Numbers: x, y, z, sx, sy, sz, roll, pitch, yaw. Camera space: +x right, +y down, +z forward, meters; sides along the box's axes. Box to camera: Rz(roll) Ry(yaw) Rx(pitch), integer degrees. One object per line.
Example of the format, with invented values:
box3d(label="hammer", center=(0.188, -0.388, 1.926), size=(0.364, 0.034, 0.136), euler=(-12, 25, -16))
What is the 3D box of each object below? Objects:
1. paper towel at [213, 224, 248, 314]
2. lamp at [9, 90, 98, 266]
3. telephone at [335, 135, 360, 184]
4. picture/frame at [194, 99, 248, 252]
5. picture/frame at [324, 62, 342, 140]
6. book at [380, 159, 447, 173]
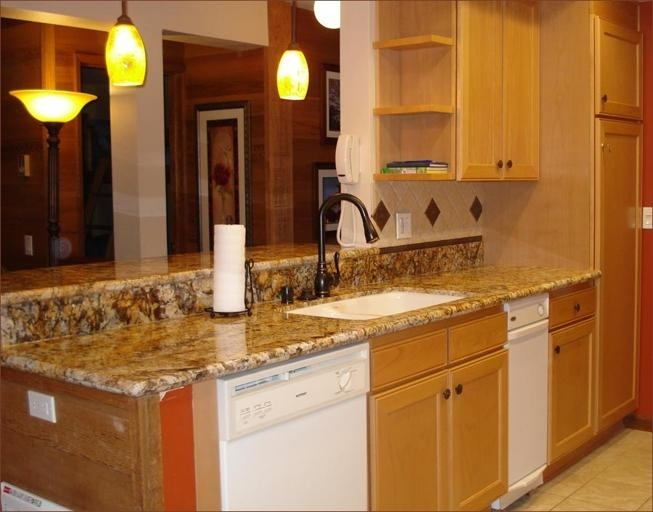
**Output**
box3d(label="paper towel", center=(-0.336, 0.050, 1.906), size=(0.115, 0.321, 0.126), euler=(-4, 7, -14))
box3d(label="lamp", center=(-1.509, -0.464, 3.152), size=(0.395, 1.073, 0.697), euler=(-6, 7, -28))
box3d(label="telephone", center=(0.104, -0.472, 2.678), size=(0.103, 0.248, 0.104), euler=(0, 7, 16))
box3d(label="picture/frame", center=(-0.724, -0.562, 3.944), size=(0.390, 1.022, 0.175), euler=(-2, 7, 2))
box3d(label="picture/frame", center=(0.045, -1.155, 4.171), size=(0.056, 0.533, 0.199), euler=(2, 8, 31))
box3d(label="book", center=(0.432, -0.434, 2.676), size=(0.316, 0.067, 0.180), euler=(-1, 7, 10))
